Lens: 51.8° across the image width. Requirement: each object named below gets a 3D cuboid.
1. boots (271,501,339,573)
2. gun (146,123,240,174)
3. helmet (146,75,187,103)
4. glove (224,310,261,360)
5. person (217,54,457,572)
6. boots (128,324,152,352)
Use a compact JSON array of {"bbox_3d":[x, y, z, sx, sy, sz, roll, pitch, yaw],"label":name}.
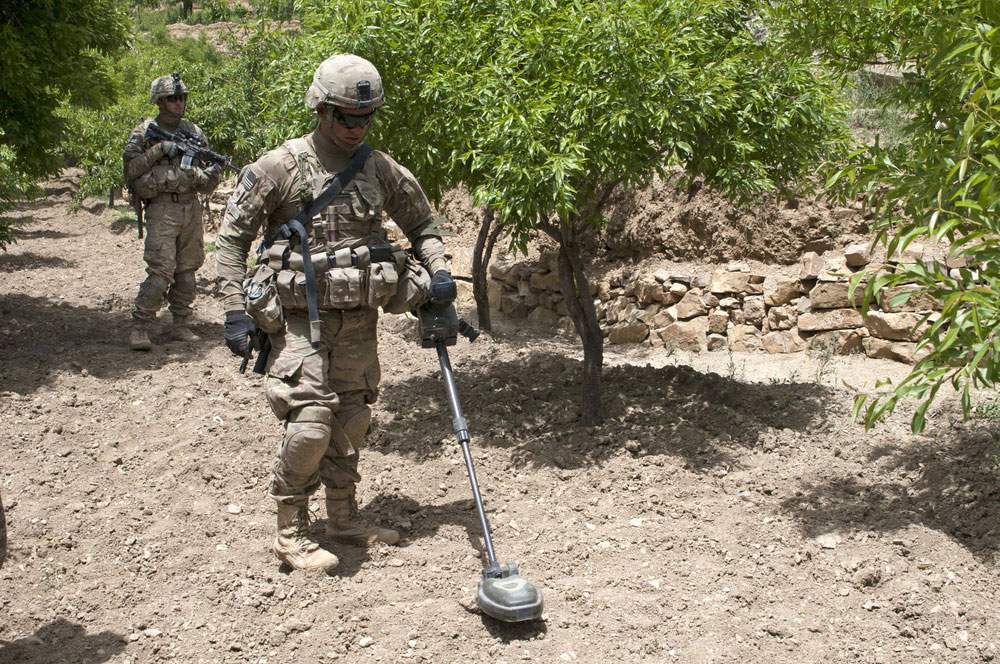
[{"bbox_3d":[-1.497,1.552,7.874,0.568,0.486,0.277,15,10,33],"label":"boots"},{"bbox_3d":[-3.264,-1.880,10.760,0.141,0.370,1.025,25,6,18],"label":"gun"},{"bbox_3d":[-3.461,-2.539,10.667,0.355,0.227,0.331,11,22,28],"label":"helmet"},{"bbox_3d":[-1.910,0.014,7.628,0.247,0.359,0.260,-15,26,-31],"label":"glove"},{"bbox_3d":[-1.265,-0.175,7.825,1.586,3.654,1.081,-17,27,-33],"label":"person"},{"bbox_3d":[-3.857,0.060,10.953,0.169,0.207,0.484,0,-1,-29],"label":"boots"}]
